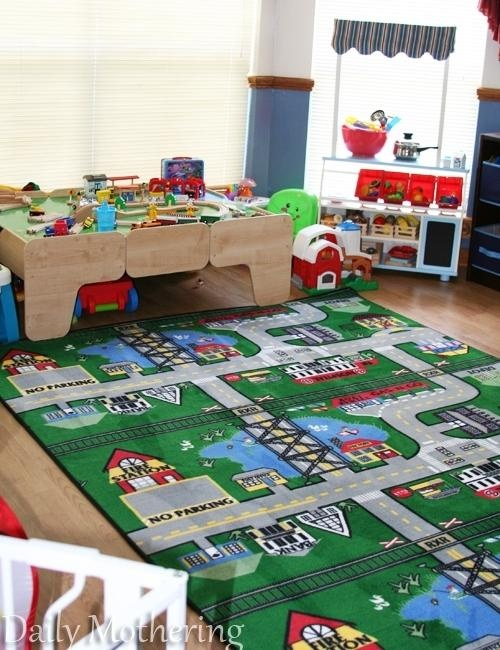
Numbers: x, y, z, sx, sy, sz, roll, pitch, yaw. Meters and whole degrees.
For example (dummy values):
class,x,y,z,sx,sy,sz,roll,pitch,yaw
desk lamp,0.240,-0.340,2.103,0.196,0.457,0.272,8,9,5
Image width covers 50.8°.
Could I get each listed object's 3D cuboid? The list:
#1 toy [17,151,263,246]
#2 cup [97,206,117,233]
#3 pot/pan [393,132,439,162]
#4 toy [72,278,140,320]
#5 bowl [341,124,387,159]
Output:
class,x,y,z,sx,sy,sz,roll,pitch,yaw
toy,-0.852,-1.006,4.273,1.618,0.222,0.910,-7,26,-17
cup,-1.005,-0.759,3.694,0.149,0.190,0.493,-4,16,-14
pot/pan,1.585,-1.657,4.890,0.278,0.243,0.489,-13,25,-40
toy,-1.012,-0.191,3.771,0.478,0.282,0.157,-14,22,-41
bowl,1.059,-1.703,4.900,0.388,0.220,0.352,-1,25,-8
